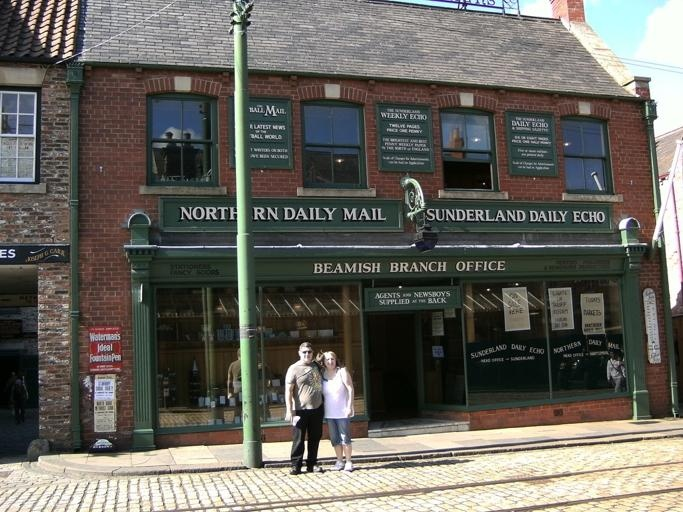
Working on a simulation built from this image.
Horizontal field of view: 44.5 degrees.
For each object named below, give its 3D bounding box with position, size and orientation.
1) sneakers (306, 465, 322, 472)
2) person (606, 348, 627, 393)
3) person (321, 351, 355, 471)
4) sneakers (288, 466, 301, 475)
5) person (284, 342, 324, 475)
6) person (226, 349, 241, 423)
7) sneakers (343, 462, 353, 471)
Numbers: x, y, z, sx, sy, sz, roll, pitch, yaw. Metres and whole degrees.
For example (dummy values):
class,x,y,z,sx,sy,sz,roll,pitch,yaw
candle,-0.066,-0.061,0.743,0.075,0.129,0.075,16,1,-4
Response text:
class,x,y,z,sx,sy,sz,roll,pitch,yaw
sneakers,-0.498,3.952,15.586,0.311,0.119,0.115,-1,1,-14
person,6.688,2.783,20.379,0.519,1.018,0.178,-2,1,-22
person,-0.085,3.018,15.601,0.567,1.966,0.400,-1,1,2
sneakers,-0.868,3.941,15.428,0.230,0.164,0.255,-1,1,2
person,-0.678,2.824,15.499,0.678,2.376,0.489,-1,1,-3
person,-2.367,2.821,18.229,0.309,1.583,0.224,-2,1,-19
sneakers,0.121,3.929,15.601,0.154,0.160,0.066,4,-9,-7
